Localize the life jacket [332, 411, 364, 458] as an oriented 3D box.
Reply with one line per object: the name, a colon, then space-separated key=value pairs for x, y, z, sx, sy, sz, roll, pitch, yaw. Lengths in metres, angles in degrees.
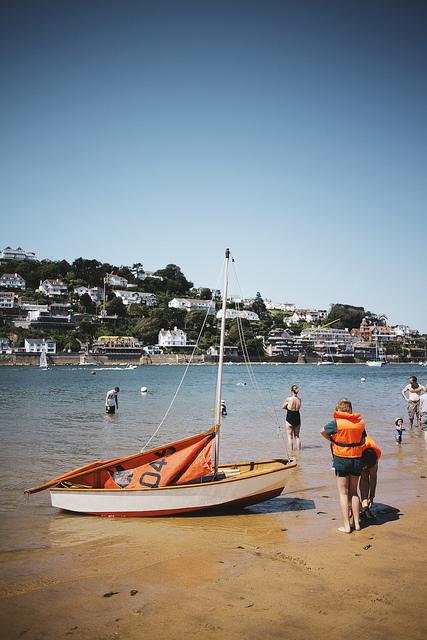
life jacket: x=1.581 y=1.354 z=8.091 sx=0.388 sy=0.536 sz=0.390 roll=-3 pitch=3 yaw=-8

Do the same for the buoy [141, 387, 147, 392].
buoy: x=-4.155 y=4.207 z=40.137 sx=0.492 sy=0.349 sz=0.452 roll=0 pitch=-4 yaw=-11

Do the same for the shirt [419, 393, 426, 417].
shirt: x=4.328 y=1.757 z=13.821 sx=0.102 sy=0.410 sz=0.316 roll=-1 pitch=-4 yaw=18

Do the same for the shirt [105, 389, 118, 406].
shirt: x=-3.699 y=2.843 z=24.361 sx=0.629 sy=0.678 sz=0.397 roll=4 pitch=-3 yaw=-42

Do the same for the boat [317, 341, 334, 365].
boat: x=26.307 y=8.095 z=155.705 sx=3.256 sy=4.494 sz=10.365 roll=-1 pitch=-4 yaw=10

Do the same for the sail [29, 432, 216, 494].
sail: x=-1.310 y=2.027 z=9.449 sx=2.818 sy=0.740 sz=0.470 roll=-4 pitch=1 yaw=7

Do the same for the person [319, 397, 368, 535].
person: x=1.686 y=1.846 z=8.547 sx=0.558 sy=1.700 sz=1.342 roll=-1 pitch=-4 yaw=13

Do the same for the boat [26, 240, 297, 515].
boat: x=-0.619 y=1.168 z=9.767 sx=3.307 sy=3.237 sz=1.094 roll=-1 pitch=-4 yaw=6
